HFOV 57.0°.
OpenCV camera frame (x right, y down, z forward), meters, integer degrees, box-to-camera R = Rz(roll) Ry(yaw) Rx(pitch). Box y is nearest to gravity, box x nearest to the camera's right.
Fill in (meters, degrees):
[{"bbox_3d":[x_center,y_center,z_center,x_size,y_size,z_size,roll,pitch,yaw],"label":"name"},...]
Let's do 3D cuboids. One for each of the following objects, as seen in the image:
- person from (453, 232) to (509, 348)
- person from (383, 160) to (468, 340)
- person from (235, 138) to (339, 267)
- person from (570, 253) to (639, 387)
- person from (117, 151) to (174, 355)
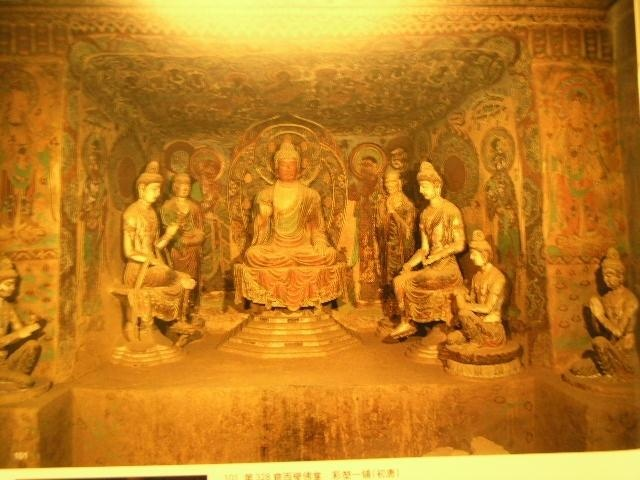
[{"bbox_3d":[1.875,0.576,6.895,0.539,1.325,0.381,-5,-13,12],"label":"person"},{"bbox_3d":[1.357,0.061,7.401,0.891,2.027,0.604,-3,-13,7],"label":"person"},{"bbox_3d":[-0.420,-0.486,8.127,1.177,1.849,0.545,0,-13,-7],"label":"person"},{"bbox_3d":[3.125,0.824,6.496,0.336,1.395,0.715,11,-18,-44],"label":"person"},{"bbox_3d":[-2.110,0.264,7.480,0.775,2.531,0.660,3,-14,-21],"label":"person"}]
